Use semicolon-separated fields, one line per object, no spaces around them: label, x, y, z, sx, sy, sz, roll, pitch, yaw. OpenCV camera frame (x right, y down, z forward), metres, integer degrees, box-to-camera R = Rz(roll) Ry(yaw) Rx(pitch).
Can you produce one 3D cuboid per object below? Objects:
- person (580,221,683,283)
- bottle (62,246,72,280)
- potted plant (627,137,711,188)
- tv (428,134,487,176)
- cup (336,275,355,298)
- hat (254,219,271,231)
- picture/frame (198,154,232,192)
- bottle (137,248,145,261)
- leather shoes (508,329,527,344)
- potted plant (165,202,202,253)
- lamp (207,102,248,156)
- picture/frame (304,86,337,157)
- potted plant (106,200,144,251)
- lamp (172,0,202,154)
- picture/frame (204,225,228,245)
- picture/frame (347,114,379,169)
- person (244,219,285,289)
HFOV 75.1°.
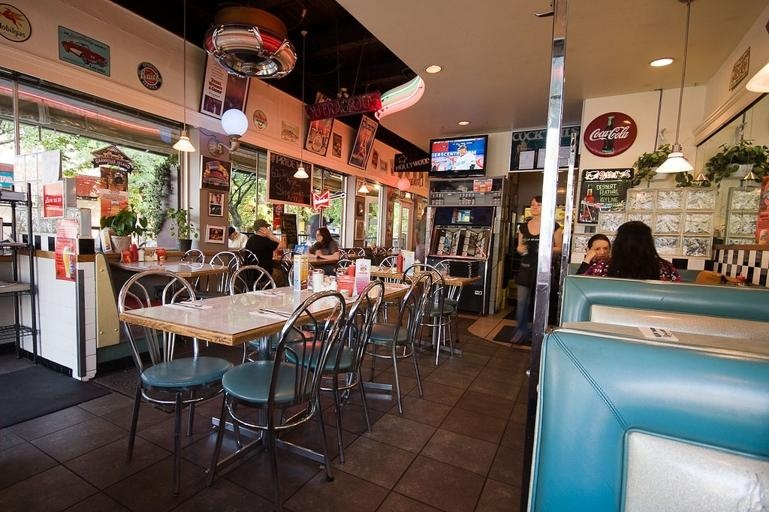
person;2.513;-0.032;4.992;0.727;0.354;0.267;1;17;17
bottle;-3.215;0.077;5.087;0.233;0.338;0.039;5;7;43
potted plant;3.412;-1.150;6.246;0.539;0.611;1.051;-6;16;-28
tv;1.326;-1.731;8.775;0.884;0.582;0.093;2;0;32
cup;-0.361;0.291;4.702;0.188;0.190;0.182;2;6;0
hat;-1.789;-0.453;7.348;0.192;0.230;0.238;7;6;40
picture/frame;-2.635;-1.268;7.708;0.069;0.457;0.656;4;5;25
bottle;-3.022;-0.007;6.230;0.123;0.177;0.114;2;8;0
leather shoes;1.820;1.104;6.845;0.182;0.180;0.066;30;1;-40
potted plant;-2.939;-0.387;7.450;0.680;0.928;0.618;-3;5;-25
lamp;-2.339;-1.797;7.266;0.460;0.624;0.782;2;-4;-20
picture/frame;-1.181;-2.421;8.979;0.156;1.308;1.047;11;11;24
potted plant;-3.340;-0.376;6.316;0.558;0.522;0.549;0;4;-42
lamp;-2.769;-2.402;6.946;0.281;1.984;1.198;-1;5;-22
picture/frame;-2.659;-0.328;7.844;0.028;0.233;0.345;0;2;30
picture/frame;-0.475;-2.385;10.418;0.135;1.229;0.957;24;18;19
person;-1.716;-0.034;7.474;0.470;1.039;0.553;18;31;33
